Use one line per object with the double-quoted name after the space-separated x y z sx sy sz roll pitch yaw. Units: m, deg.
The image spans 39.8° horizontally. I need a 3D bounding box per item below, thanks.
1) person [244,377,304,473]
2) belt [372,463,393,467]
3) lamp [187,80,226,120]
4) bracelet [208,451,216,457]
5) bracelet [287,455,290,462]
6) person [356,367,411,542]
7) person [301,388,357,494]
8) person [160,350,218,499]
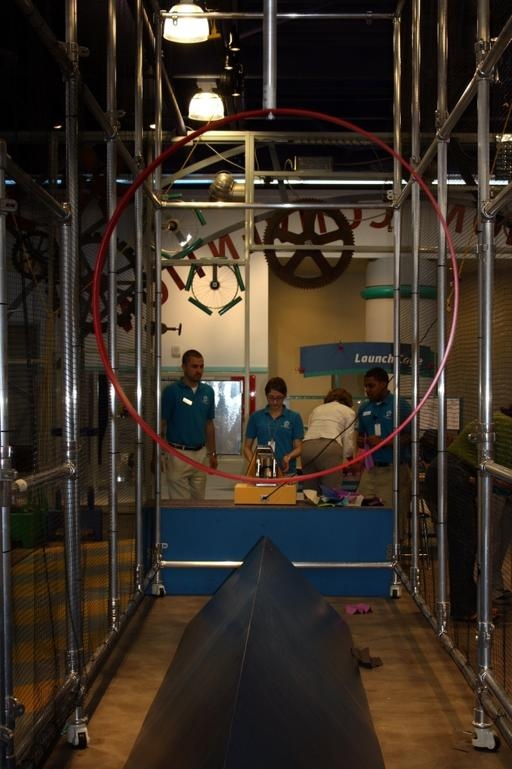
0.128 0.471 4.801 0.376 1.008 0.383 -1 11 -2 "person"
0.768 0.500 4.311 0.016 0.032 0.135 1 -2 -40 "belt"
-0.368 -2.099 5.213 0.231 0.360 0.371 0 -2 -1 "lamp"
-0.308 0.499 4.989 0.041 0.021 0.058 3 3 5 "bracelet"
0.200 0.468 4.442 0.033 0.046 0.014 -4 -15 30 "bracelet"
0.770 0.526 4.375 0.382 1.263 0.368 1 4 34 "person"
0.446 0.363 4.443 0.353 0.688 0.825 0 -2 8 "person"
-0.457 0.271 4.839 0.483 1.015 0.413 1 -2 -27 "person"
